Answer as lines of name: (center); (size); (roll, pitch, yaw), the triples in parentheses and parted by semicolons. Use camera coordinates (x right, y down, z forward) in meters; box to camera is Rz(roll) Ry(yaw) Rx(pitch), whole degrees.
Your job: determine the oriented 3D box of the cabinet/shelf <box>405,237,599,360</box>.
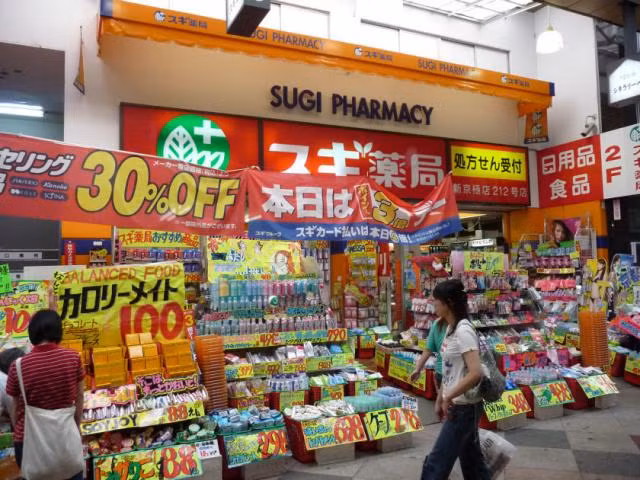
cabinet/shelf: (3.499, 0.954, 7.876); (2.292, 0.857, 2.318); (-2, 3, -20)
